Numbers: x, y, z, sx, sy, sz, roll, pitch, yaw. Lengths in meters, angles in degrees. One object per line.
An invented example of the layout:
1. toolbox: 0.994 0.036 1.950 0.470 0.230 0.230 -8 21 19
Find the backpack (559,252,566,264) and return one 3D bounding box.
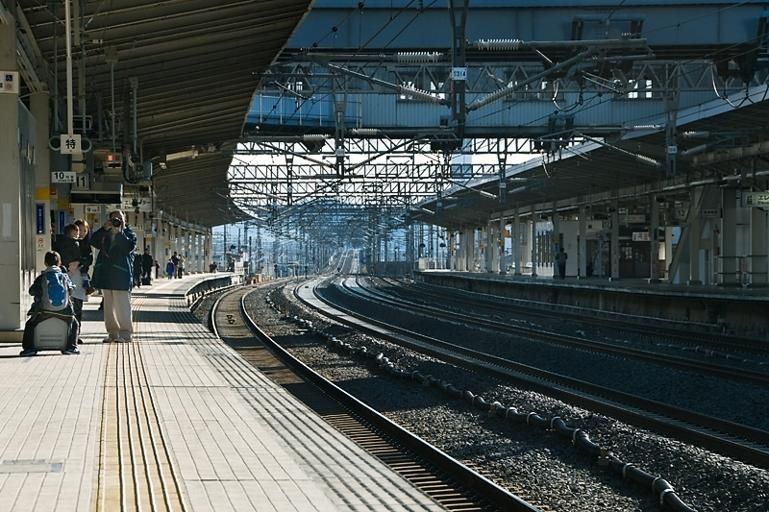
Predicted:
1. backpack: 9.615 0.139 47.941 0.591 0.583 0.333 2 10 6

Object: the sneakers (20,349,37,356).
1. sneakers: -7.729 2.114 19.154 0.383 0.141 0.134 -4 11 -12

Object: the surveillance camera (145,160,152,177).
1. surveillance camera: -8.940 -3.237 33.458 0.123 0.555 0.314 3 1 17

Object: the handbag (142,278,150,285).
1. handbag: -13.054 1.399 48.142 0.489 0.333 0.492 3 -6 -42
